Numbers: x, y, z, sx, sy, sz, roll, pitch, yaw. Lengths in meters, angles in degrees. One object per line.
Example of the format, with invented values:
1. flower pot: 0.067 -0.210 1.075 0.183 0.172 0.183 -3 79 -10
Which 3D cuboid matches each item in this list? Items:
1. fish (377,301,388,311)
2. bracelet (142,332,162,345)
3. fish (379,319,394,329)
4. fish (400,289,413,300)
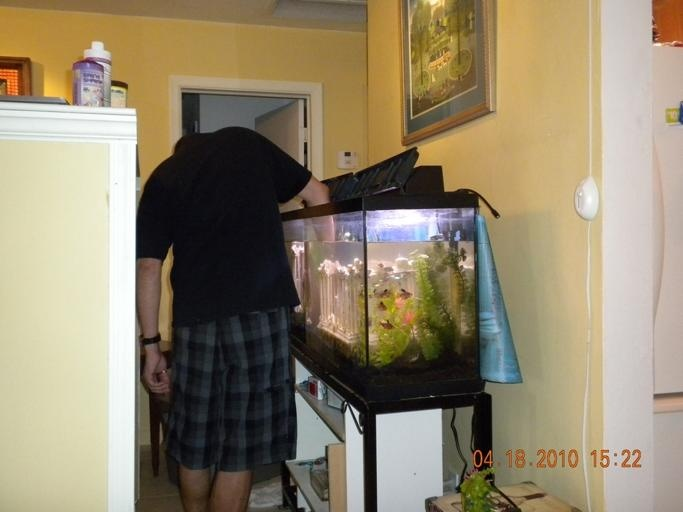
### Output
1. fish: 0.126 0.158 1.962 0.025 0.047 0.023 6 -7 -44
2. bracelet: -0.710 0.310 2.320 0.048 0.026 0.043 -6 1 29
3. fish: 0.141 0.213 1.970 0.044 0.031 0.018 25 3 3
4. fish: 0.203 0.122 1.981 0.046 0.037 0.027 0 -2 -6
